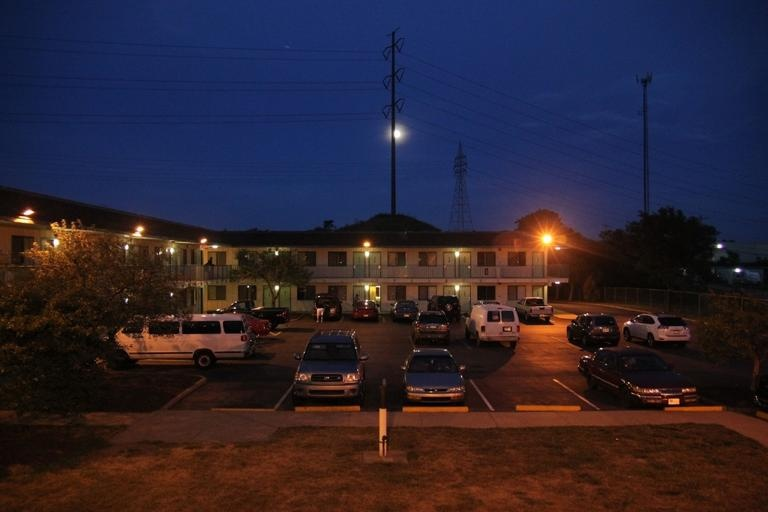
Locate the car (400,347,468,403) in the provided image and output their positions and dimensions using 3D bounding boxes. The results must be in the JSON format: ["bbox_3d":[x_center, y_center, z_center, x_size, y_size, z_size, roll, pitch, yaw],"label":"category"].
[{"bbox_3d":[1.801,4.469,26.287,1.996,1.966,3.252,0,-6,-3],"label":"car"}]

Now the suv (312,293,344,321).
[{"bbox_3d":[-3.981,3.720,51.052,1.335,1.240,2.359,-1,6,0],"label":"suv"}]

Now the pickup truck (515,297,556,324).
[{"bbox_3d":[11.097,4.049,51.251,1.381,1.132,3.099,-1,3,-3],"label":"pickup truck"}]

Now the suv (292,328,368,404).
[{"bbox_3d":[-3.738,4.252,26.729,2.668,2.501,5.974,0,-7,0],"label":"suv"}]

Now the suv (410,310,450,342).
[{"bbox_3d":[2.638,4.006,39.206,1.498,1.448,3.172,0,2,3],"label":"suv"}]

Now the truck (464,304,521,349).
[{"bbox_3d":[6.185,3.890,38.553,2.152,2.468,3.110,0,8,-4],"label":"truck"}]

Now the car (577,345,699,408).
[{"bbox_3d":[9.729,4.636,26.524,2.070,1.914,4.033,-4,9,-29],"label":"car"}]
